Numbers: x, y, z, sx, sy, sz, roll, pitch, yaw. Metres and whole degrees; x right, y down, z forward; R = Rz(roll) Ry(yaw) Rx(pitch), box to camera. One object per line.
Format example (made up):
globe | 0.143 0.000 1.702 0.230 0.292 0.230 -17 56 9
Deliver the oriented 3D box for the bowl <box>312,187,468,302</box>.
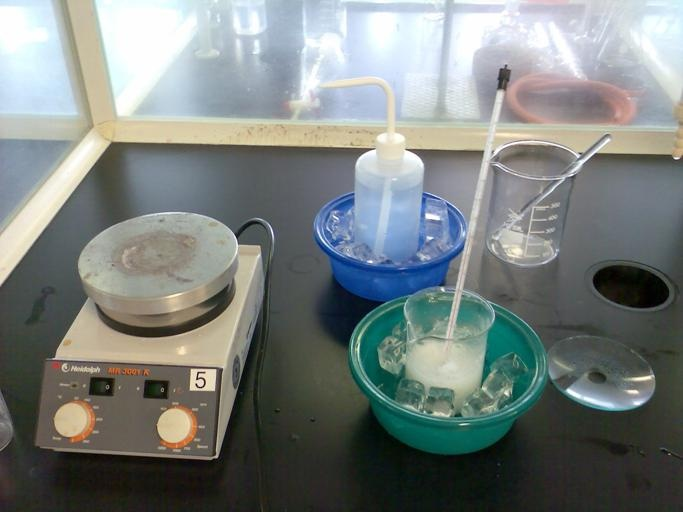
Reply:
bowl | 0.123 -0.010 1.321 0.283 0.094 0.277 1 37 -1

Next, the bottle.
bottle | 0.112 -0.140 1.334 0.166 0.312 0.168 0 35 0

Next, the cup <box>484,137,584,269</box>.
cup | 0.488 -0.125 1.443 0.253 0.288 0.188 11 40 18
